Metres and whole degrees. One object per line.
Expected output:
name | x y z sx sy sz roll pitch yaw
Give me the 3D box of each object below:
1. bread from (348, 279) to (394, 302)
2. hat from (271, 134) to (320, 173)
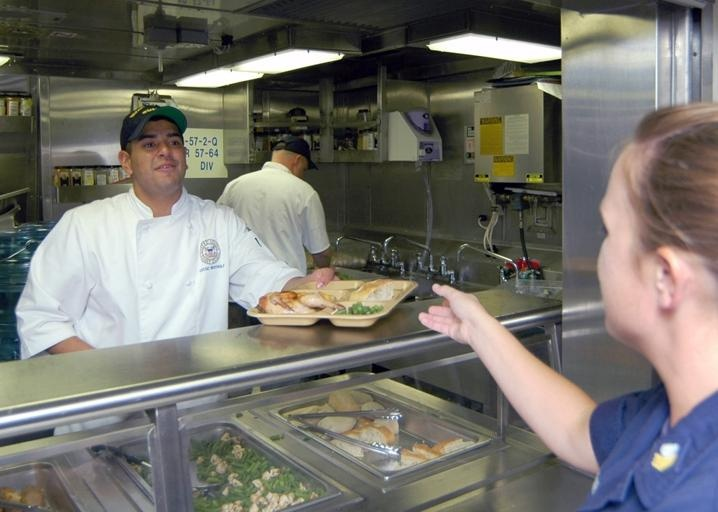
bread | 0.048 0.108 1.875 0.071 0.040 0.118 3 12 38
hat | -0.444 -0.786 4.103 0.359 0.181 0.251 19 -6 -39
